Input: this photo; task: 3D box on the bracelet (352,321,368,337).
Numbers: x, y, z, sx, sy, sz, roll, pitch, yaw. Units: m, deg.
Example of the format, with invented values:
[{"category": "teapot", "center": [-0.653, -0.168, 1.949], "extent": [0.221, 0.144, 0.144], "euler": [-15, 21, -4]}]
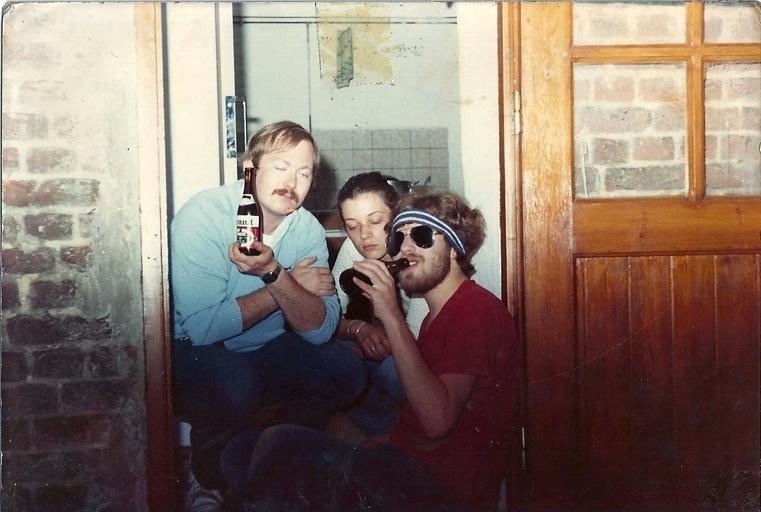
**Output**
[{"category": "bracelet", "center": [-0.083, 0.286, 2.606], "extent": [0.013, 0.044, 0.050], "euler": [35, 30, 3]}]

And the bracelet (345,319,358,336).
[{"category": "bracelet", "center": [-0.111, 0.282, 2.603], "extent": [0.066, 0.044, 0.023], "euler": [4, 3, 3]}]

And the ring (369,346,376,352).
[{"category": "ring", "center": [-0.031, 0.361, 2.597], "extent": [0.026, 0.024, 0.007], "euler": [-9, 1, 1]}]

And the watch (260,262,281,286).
[{"category": "watch", "center": [-0.419, 0.068, 2.588], "extent": [0.062, 0.042, 0.083], "euler": [0, 43, 47]}]
